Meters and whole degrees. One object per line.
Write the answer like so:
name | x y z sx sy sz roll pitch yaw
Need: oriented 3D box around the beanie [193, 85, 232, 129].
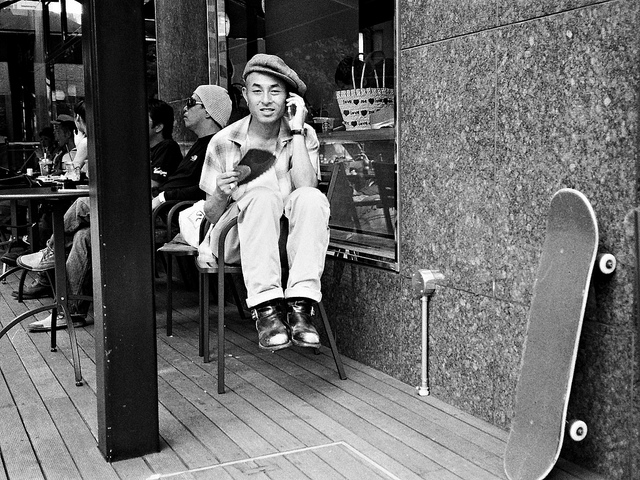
beanie | -0.735 -0.978 4.352 0.275 0.321 0.231 -20 5 0

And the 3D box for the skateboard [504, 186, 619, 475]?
skateboard | 0.823 0.349 2.113 0.161 1.135 0.291 8 2 -21

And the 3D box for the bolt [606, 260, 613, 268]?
bolt | 0.995 0.085 2.048 0.020 0.022 0.006 3 0 5

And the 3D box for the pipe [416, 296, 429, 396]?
pipe | 0.491 0.501 2.802 0.052 0.478 0.044 -4 9 -19

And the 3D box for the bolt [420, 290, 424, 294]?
bolt | 0.470 0.241 2.750 0.003 0.012 0.012 7 -2 -43

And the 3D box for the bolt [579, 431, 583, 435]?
bolt | 0.911 0.673 2.081 0.004 0.013 0.012 8 -1 -33

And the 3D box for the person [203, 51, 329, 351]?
person | -0.269 -0.216 2.980 0.612 1.398 0.661 -2 9 -11

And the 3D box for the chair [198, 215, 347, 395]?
chair | -0.301 0.267 3.256 0.675 1.066 0.598 -6 -12 -14
